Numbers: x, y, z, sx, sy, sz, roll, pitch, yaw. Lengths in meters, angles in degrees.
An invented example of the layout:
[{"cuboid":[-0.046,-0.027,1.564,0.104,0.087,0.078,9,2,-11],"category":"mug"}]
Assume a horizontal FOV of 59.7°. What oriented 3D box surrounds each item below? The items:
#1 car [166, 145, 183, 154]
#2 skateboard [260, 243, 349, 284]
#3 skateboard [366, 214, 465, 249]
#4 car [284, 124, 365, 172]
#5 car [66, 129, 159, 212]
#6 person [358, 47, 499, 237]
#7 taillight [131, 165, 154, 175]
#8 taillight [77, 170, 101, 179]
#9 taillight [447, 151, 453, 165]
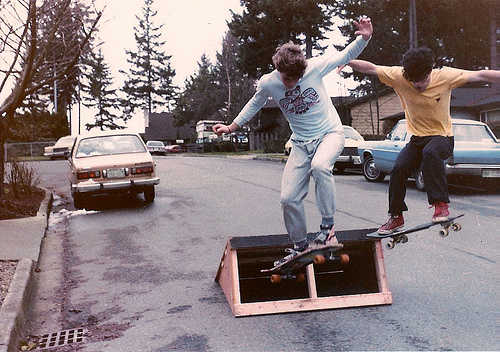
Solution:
[{"cuboid":[-10.797,-3.649,61.449,1.727,0.950,1.163,0,8,19],"category":"car"},{"cuboid":[0.622,1.008,5.094,0.480,0.252,0.929,17,-38,-40],"category":"skateboard"},{"cuboid":[2.631,0.908,6.869,1.251,0.228,0.332,-20,-9,23],"category":"skateboard"},{"cuboid":[3.976,-1.155,20.753,2.388,2.149,5.749,-1,4,-13],"category":"car"},{"cuboid":[-3.558,-0.175,11.435,2.098,1.910,1.803,-4,8,-23],"category":"car"},{"cuboid":[2.292,-0.438,5.893,1.391,2.471,0.560,-2,7,-8],"category":"person"},{"cuboid":[-2.686,-0.128,10.959,0.549,0.200,0.038,-5,8,-26],"category":"taillight"},{"cuboid":[-3.891,-0.010,10.593,0.550,0.200,0.034,-3,7,-10],"category":"taillight"},{"cuboid":[5.298,-0.389,11.590,0.130,0.245,0.216,2,8,24],"category":"taillight"}]
